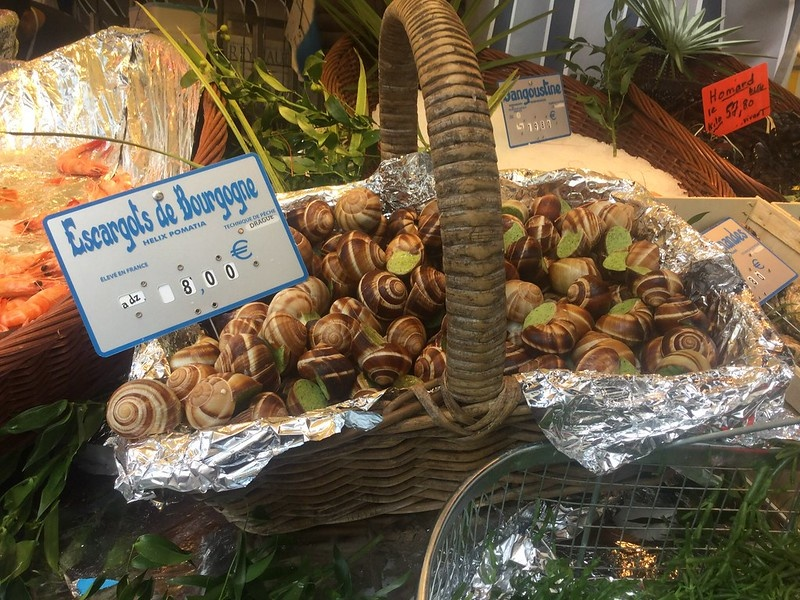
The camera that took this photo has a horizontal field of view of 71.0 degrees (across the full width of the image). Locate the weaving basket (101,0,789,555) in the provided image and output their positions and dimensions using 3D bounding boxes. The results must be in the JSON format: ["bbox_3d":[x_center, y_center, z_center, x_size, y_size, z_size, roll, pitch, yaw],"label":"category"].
[{"bbox_3d":[0.089,-0.044,1.063,1.079,0.752,0.831,-6,39,-7],"label":"weaving basket"}]

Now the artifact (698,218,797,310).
[{"bbox_3d":[0.814,-0.074,1.397,0.218,0.218,0.050,-32,-10,-15],"label":"artifact"}]
